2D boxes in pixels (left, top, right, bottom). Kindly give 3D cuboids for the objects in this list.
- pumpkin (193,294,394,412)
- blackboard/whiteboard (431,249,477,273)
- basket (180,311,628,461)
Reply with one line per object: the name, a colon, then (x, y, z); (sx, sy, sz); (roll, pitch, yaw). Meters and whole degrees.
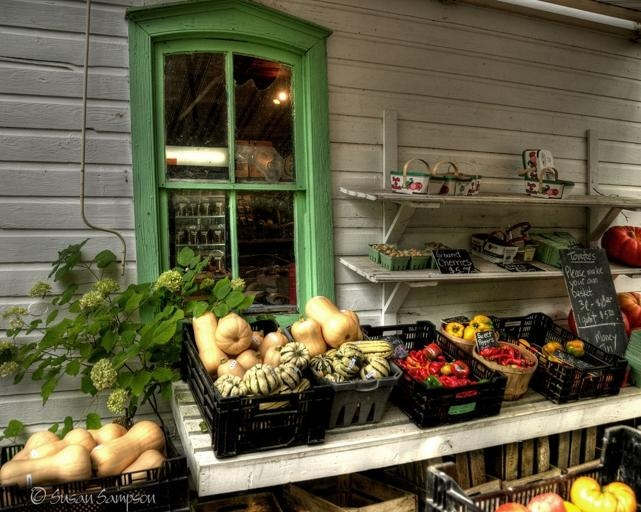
pumpkin: (-0.139, 0.418, 2.546); (1.010, 0.328, 0.583); (-1, 11, -19)
blackboard/whiteboard: (0.846, 0.029, 3.099); (0.275, 0.142, 0.189); (-1, 6, 1)
basket: (0.363, 0.645, 2.766); (2.022, 0.406, 0.716); (-3, 6, -18)
